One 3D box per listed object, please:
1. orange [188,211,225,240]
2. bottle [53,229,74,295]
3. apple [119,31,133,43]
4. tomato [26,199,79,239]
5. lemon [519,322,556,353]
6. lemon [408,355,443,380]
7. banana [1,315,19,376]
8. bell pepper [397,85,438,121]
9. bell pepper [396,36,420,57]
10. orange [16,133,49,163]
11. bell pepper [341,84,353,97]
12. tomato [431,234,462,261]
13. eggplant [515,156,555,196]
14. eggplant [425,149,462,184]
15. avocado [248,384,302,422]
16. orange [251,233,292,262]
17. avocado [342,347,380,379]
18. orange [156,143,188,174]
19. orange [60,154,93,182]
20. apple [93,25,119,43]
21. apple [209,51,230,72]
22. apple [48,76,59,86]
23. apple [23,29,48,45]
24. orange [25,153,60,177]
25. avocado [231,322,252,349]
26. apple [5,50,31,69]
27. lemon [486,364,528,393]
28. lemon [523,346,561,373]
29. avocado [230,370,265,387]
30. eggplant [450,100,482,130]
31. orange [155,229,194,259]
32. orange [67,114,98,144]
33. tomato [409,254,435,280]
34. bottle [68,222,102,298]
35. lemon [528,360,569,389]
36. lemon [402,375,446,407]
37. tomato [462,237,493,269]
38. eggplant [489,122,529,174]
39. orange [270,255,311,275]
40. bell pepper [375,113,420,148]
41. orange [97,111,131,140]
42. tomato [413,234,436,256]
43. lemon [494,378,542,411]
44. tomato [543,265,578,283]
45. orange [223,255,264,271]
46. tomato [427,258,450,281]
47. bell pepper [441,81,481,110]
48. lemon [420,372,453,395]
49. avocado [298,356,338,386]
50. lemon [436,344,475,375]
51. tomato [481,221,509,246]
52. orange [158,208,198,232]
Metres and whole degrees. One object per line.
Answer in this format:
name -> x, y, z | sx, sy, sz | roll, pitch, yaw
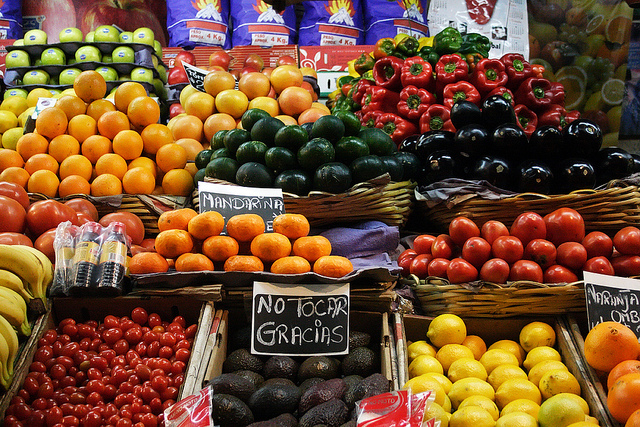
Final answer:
orange -> -0.665, 0.080, 2.986 | 0.231, 0.166, 0.209 | -11, 0, -40
bottle -> -1.442, 0.271, 2.883 | 0.104, 0.366, 0.186 | -2, -3, -21
apple -> -1.966, -1.783, 5.201 | 0.129, 0.131, 0.122 | -2, -3, -16
tomato -> -1.650, 0.030, 3.219 | 0.255, 0.235, 0.246 | -23, -8, -4
lemon -> 1.210, 0.705, 2.934 | 0.183, 0.141, 0.150 | -6, -24, -3
lemon -> 0.563, 0.812, 2.743 | 0.134, 0.161, 0.141 | -2, -6, 9
banana -> -1.500, 0.645, 2.520 | 0.072, 0.284, 0.115 | -1, -8, -8
bell pepper -> 0.771, -0.844, 4.214 | 0.278, 0.268, 0.349 | 2, -1, 40
bell pepper -> 0.776, -1.478, 4.551 | 0.198, 0.229, 0.114 | -3, -3, -1
orange -> -2.098, -0.473, 3.743 | 0.200, 0.224, 0.195 | 0, -16, 10
bell pepper -> 0.253, -1.156, 4.784 | 0.092, 0.092, 0.090 | -2, 9, 0
tomato -> 0.758, 0.195, 3.194 | 0.187, 0.136, 0.245 | 2, 21, 23
eggplant -> 1.401, -0.216, 3.407 | 0.264, 0.296, 0.249 | 6, -5, -40
eggplant -> 0.833, -0.327, 3.631 | 0.255, 0.260, 0.336 | -4, -4, 16
avocado -> -0.214, 0.888, 2.435 | 0.213, 0.119, 0.157 | -10, -14, -4
orange -> -0.264, 0.193, 2.904 | 0.175, 0.124, 0.167 | -1, -10, 15
avocado -> 0.231, 0.773, 2.731 | 0.177, 0.134, 0.126 | -12, 19, -38
orange -> -1.077, -0.399, 3.709 | 0.241, 0.201, 0.199 | -9, -12, -43
orange -> -1.690, -0.320, 3.636 | 0.196, 0.187, 0.181 | -4, 5, -1
apple -> -2.130, -1.790, 5.128 | 0.230, 0.198, 0.159 | -2, -3, -24
apple -> -0.999, -1.535, 5.243 | 0.187, 0.195, 0.235 | 10, 15, 13
apple -> -2.466, -1.228, 4.769 | 0.123, 0.066, 0.119 | -1, 19, -4
apple -> -2.873, -1.773, 5.168 | 0.197, 0.181, 0.166 | -1, -3, -28
orange -> -1.951, -0.349, 3.649 | 0.179, 0.167, 0.170 | -2, 9, -2
avocado -> -0.426, 0.686, 2.862 | 0.101, 0.138, 0.219 | -1, -4, -31
apple -> -2.853, -1.455, 4.856 | 0.207, 0.229, 0.247 | -1, -4, -31
lemon -> 0.984, 0.840, 2.718 | 0.171, 0.127, 0.124 | -12, 29, -19
lemon -> 1.208, 0.787, 2.798 | 0.166, 0.127, 0.128 | -1, 0, 1
avocado -> -0.347, 0.834, 2.618 | 0.104, 0.056, 0.085 | 5, -2, -5
eggplant -> 1.006, -0.692, 3.650 | 0.169, 0.195, 0.169 | -9, 25, -23
orange -> -0.880, 0.173, 2.918 | 0.191, 0.140, 0.177 | 7, 7, -35
orange -> -1.731, -0.611, 3.809 | 0.191, 0.211, 0.181 | 2, 13, -14
tomato -> 0.639, 0.332, 3.205 | 0.204, 0.150, 0.146 | -7, 10, -39
bottle -> -1.300, 0.248, 2.863 | 0.156, 0.385, 0.183 | -3, -3, -11
lemon -> 1.201, 0.835, 2.716 | 0.165, 0.123, 0.126 | -7, 1, -11
lemon -> 0.524, 0.848, 2.564 | 0.157, 0.171, 0.163 | -1, 6, 25
tomato -> 0.950, 0.232, 3.069 | 0.192, 0.194, 0.263 | -2, -13, 34
eggplant -> 1.266, -0.435, 3.489 | 0.262, 0.258, 0.356 | -19, -40, 10
orange -> -0.154, 0.289, 2.812 | 0.128, 0.067, 0.129 | 5, -8, -35
bell pepper -> 0.621, -0.665, 4.236 | 0.345, 0.275, 0.279 | 17, -13, -38
orange -> -1.528, -0.654, 3.795 | 0.213, 0.207, 0.213 | 4, -7, -13
tomato -> 0.667, 0.186, 3.251 | 0.152, 0.127, 0.119 | 7, 34, 26
lemon -> 0.992, 0.907, 2.593 | 0.199, 0.148, 0.147 | 5, -13, -3
tomato -> 1.387, 0.357, 2.944 | 0.134, 0.125, 0.122 | 2, 24, 8
orange -> -0.419, 0.276, 2.824 | 0.176, 0.090, 0.142 | -5, -4, 34
tomato -> 0.697, 0.326, 3.022 | 0.118, 0.136, 0.115 | -2, -8, -3
bell pepper -> 1.114, -0.932, 4.143 | 0.255, 0.253, 0.257 | 11, -12, -5
lemon -> 0.628, 0.868, 2.650 | 0.103, 0.069, 0.126 | 2, -2, 6
avocado -> -0.012, 0.805, 2.647 | 0.170, 0.095, 0.128 | -4, 5, -2
lemon -> 0.741, 0.812, 2.859 | 0.188, 0.139, 0.143 | 5, -3, -9
tomato -> 1.036, 0.134, 3.079 | 0.144, 0.172, 0.141 | 6, 22, 32
orange -> -0.840, 0.037, 2.959 | 0.159, 0.113, 0.149 | -1, -5, 1
